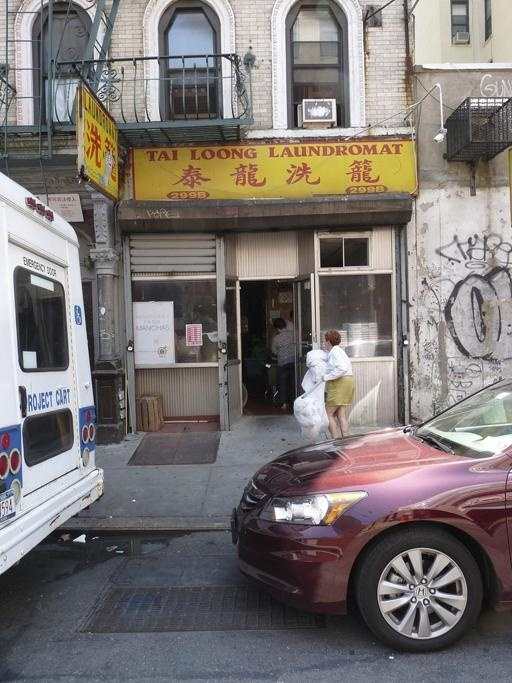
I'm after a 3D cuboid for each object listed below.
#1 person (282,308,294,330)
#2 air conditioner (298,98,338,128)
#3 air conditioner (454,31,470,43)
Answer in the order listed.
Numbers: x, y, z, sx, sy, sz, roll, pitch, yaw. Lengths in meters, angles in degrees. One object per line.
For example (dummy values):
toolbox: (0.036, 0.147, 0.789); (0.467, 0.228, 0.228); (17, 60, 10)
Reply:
person: (0.539, -0.374, 12.828); (0.254, 0.248, 0.798); (7, -12, 7)
air conditioner: (0.825, -3.021, 10.114); (0.588, 0.440, 0.335); (0, -3, 0)
air conditioner: (6.215, -9.105, 23.063); (0.392, 0.402, 0.247); (6, 12, 14)
